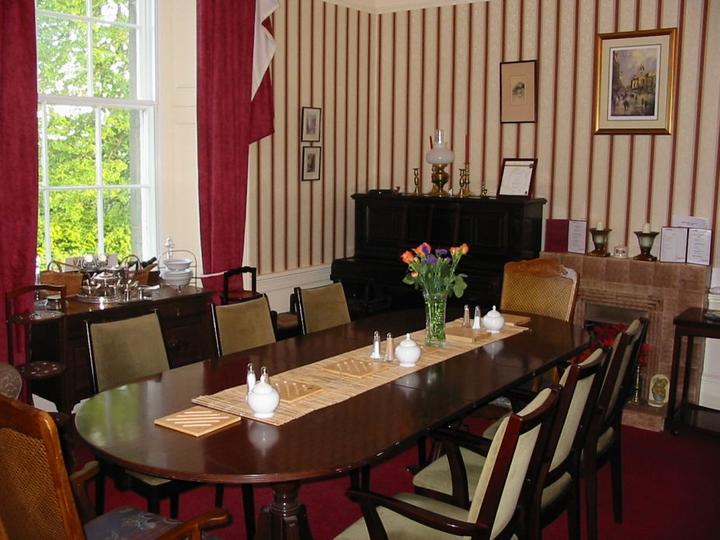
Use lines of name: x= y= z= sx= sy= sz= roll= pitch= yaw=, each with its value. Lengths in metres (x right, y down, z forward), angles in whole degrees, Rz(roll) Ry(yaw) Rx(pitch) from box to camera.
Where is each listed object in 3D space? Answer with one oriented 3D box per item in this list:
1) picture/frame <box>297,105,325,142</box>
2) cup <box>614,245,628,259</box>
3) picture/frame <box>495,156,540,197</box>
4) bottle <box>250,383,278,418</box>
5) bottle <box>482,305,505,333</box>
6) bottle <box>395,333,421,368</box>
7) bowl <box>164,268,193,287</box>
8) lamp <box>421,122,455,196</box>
picture/frame: x=-0.545 y=-1.588 z=6.103 sx=0.030 sy=0.460 sz=0.376 roll=7 pitch=11 yaw=34
cup: x=2.446 y=-0.170 z=5.342 sx=0.116 sy=0.113 sz=0.126 roll=-3 pitch=1 yaw=0
picture/frame: x=1.633 y=-0.959 z=5.843 sx=0.424 sy=0.519 sz=0.074 roll=6 pitch=-17 yaw=31
bottle: x=-0.407 y=0.557 z=2.469 sx=0.114 sy=0.144 sz=0.141 roll=-3 pitch=4 yaw=-41
bottle: x=0.861 y=0.328 z=3.810 sx=0.136 sy=0.191 sz=0.143 roll=0 pitch=-2 yaw=0
bottle: x=0.288 y=0.439 z=3.090 sx=0.146 sy=0.205 sz=0.154 roll=1 pitch=-1 yaw=0
bowl: x=-1.537 y=0.067 z=4.848 sx=0.161 sy=0.108 sz=0.168 roll=0 pitch=-1 yaw=0
lamp: x=0.833 y=-1.113 z=5.913 sx=0.250 sy=0.655 sz=0.898 roll=3 pitch=11 yaw=8
